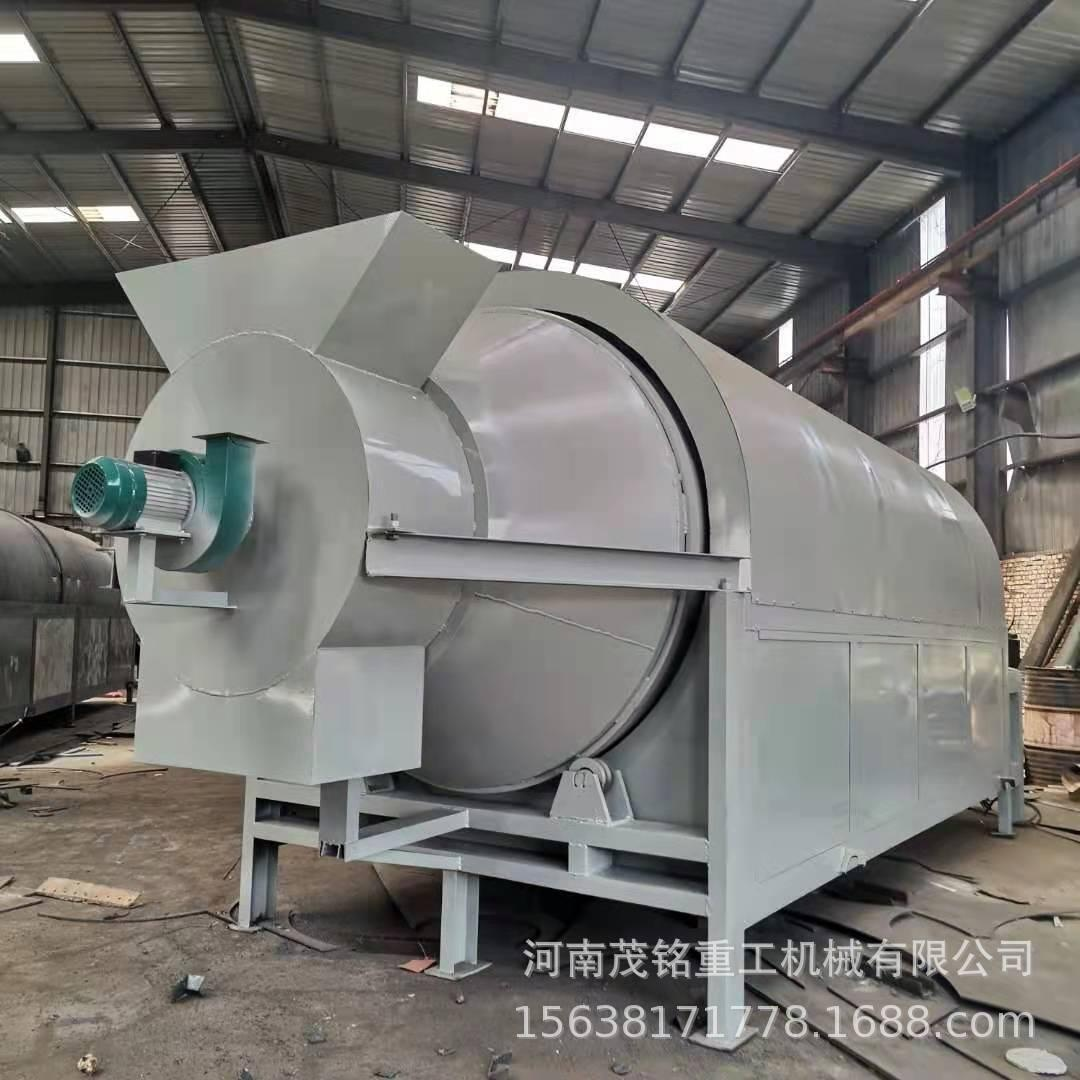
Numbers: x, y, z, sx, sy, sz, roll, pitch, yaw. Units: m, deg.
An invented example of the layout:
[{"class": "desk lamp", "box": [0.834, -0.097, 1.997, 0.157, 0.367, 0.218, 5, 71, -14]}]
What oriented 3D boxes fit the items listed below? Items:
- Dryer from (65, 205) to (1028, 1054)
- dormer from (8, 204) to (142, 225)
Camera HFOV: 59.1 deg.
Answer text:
[{"class": "Dryer", "box": [0.170, 0.274, 3.951, 1.938, 1.994, 3.903, -2, -6, 35]}, {"class": "dormer", "box": [-7.393, -5.163, 15.201, 1.483, 0.228, 0.112, -2, 11, 12]}]
